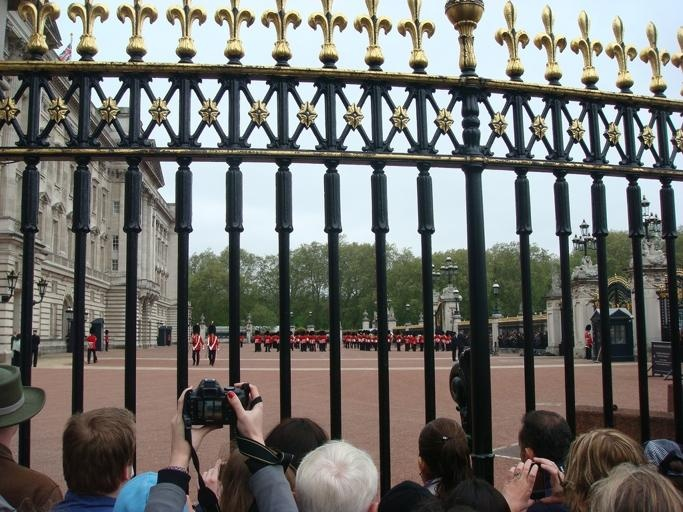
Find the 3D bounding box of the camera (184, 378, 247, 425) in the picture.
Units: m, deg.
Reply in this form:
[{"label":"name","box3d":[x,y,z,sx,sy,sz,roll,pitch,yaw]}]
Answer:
[{"label":"camera","box3d":[-0.697,0.783,4.690,0.300,0.214,0.239,0,1,-5]}]
